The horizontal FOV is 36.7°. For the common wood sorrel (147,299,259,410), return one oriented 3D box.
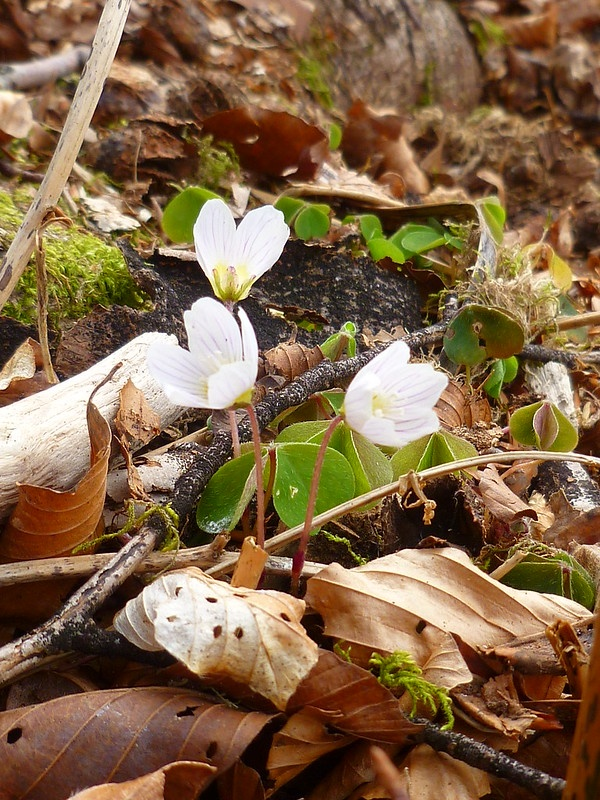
[{"bbox_3d":[-0.145,-0.073,1.433,0.164,0.174,0.134,3,29,-30],"label":"common wood sorrel"}]
